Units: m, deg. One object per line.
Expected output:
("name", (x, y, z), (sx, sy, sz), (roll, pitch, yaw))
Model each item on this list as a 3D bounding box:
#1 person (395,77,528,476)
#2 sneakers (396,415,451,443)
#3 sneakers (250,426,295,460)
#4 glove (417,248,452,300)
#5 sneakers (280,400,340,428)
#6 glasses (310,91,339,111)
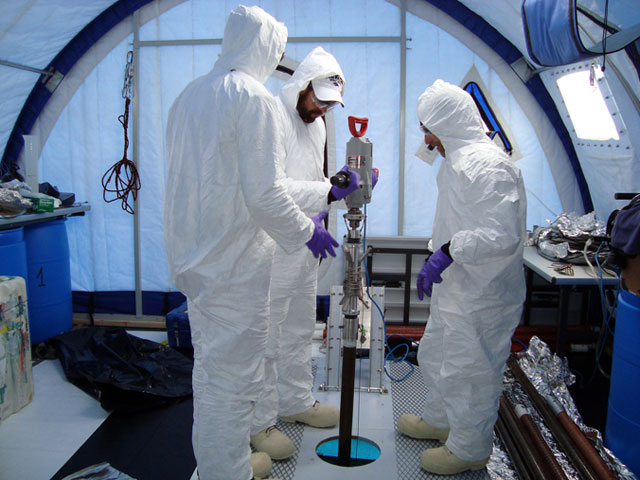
("person", (0.868, 0.201, 3.552), (0.725, 2.396, 0.449), (-1, 3, 21))
("sneakers", (0.650, 1.210, 3.716), (0.315, 0.148, 0.149), (11, -30, 10))
("sneakers", (-0.294, 1.227, 3.589), (0.260, 0.113, 0.140), (5, 7, 32))
("glove", (0.679, 0.197, 3.529), (0.089, 0.293, 0.219), (37, 2, 31))
("sneakers", (-0.059, 1.108, 3.812), (0.301, 0.153, 0.172), (-1, 2, -1))
("glasses", (-0.010, -0.823, 3.522), (0.095, 0.134, 0.041), (0, -40, -39))
